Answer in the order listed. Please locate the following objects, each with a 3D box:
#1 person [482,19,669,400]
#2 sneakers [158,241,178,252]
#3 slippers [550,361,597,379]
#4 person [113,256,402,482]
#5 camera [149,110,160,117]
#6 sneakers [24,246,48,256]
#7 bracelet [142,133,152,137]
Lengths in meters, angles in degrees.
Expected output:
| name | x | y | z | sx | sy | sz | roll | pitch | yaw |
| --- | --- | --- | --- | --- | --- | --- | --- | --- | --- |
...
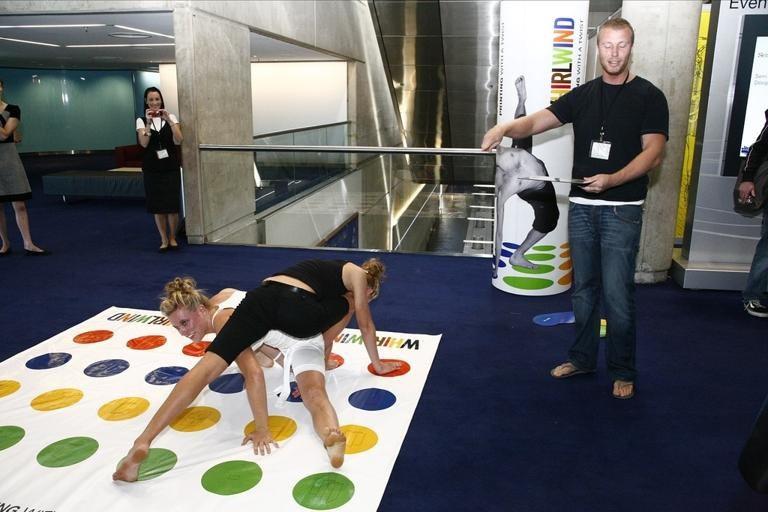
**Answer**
| name | x | y | z | sx | sy | sz | roll | pitch | yaw |
| --- | --- | --- | --- | --- | --- | --- | --- | --- | --- |
| person | 1.461 | -0.313 | 3.424 | 0.932 | 2.523 | 0.723 | 9 | 25 | 29 |
| sneakers | -2.938 | -0.128 | 6.610 | 0.107 | 0.122 | 0.311 | 1 | 0 | 12 |
| slippers | 1.479 | 0.888 | 3.738 | 0.343 | 0.130 | 0.125 | 1 | 7 | 1 |
| person | -0.654 | 0.638 | 3.081 | 1.502 | 0.989 | 1.150 | -3 | 21 | 0 |
| camera | -2.975 | -1.861 | 6.273 | 0.109 | 0.032 | 0.075 | 1 | 56 | -1 |
| sneakers | -4.640 | -0.063 | 6.445 | 0.244 | 0.090 | 0.124 | -5 | 9 | -14 |
| bracelet | -3.092 | -1.586 | 6.283 | 0.059 | 0.032 | 0.075 | -4 | 7 | -30 |
